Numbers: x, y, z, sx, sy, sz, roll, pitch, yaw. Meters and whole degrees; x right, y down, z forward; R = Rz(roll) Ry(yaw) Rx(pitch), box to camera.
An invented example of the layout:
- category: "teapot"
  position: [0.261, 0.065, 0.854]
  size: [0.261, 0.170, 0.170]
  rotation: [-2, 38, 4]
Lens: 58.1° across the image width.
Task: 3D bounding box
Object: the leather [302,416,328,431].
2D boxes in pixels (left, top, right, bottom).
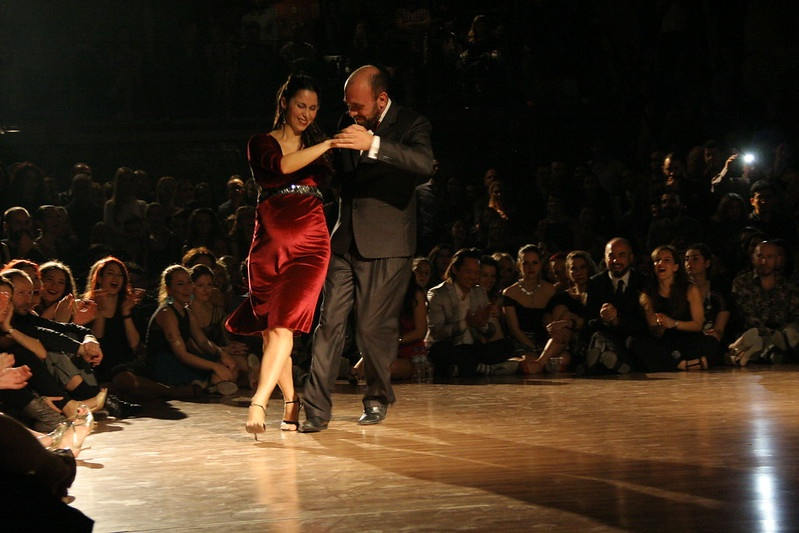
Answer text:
- category: "leather"
  position: [-0.436, 0.819, 3.780]
  size: [0.064, 0.043, 0.142]
  rotation: [-6, -12, 23]
